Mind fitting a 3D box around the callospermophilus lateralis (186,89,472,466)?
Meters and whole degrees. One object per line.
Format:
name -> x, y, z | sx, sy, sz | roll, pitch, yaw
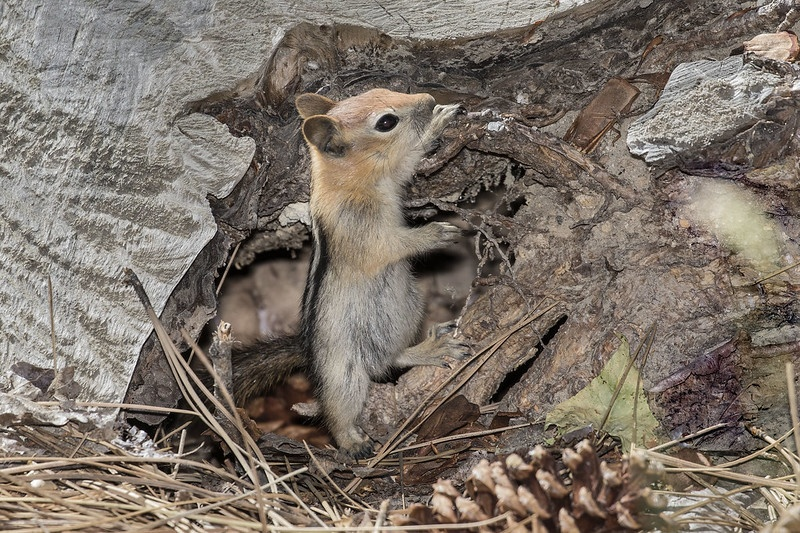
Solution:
callospermophilus lateralis -> -0.077, 0.009, 5.145 | 0.784, 1.415, 0.883 | -2, 33, 3
